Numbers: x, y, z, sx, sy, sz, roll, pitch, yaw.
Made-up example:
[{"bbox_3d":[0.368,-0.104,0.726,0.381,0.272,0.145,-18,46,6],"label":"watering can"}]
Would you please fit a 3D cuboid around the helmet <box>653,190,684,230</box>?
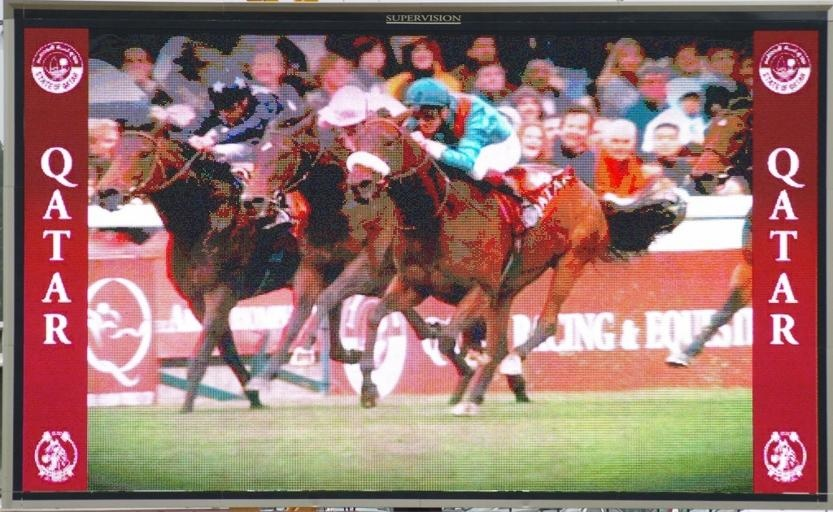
[{"bbox_3d":[1.817,-0.327,11.331,0.225,0.235,0.110,5,0,7],"label":"helmet"}]
